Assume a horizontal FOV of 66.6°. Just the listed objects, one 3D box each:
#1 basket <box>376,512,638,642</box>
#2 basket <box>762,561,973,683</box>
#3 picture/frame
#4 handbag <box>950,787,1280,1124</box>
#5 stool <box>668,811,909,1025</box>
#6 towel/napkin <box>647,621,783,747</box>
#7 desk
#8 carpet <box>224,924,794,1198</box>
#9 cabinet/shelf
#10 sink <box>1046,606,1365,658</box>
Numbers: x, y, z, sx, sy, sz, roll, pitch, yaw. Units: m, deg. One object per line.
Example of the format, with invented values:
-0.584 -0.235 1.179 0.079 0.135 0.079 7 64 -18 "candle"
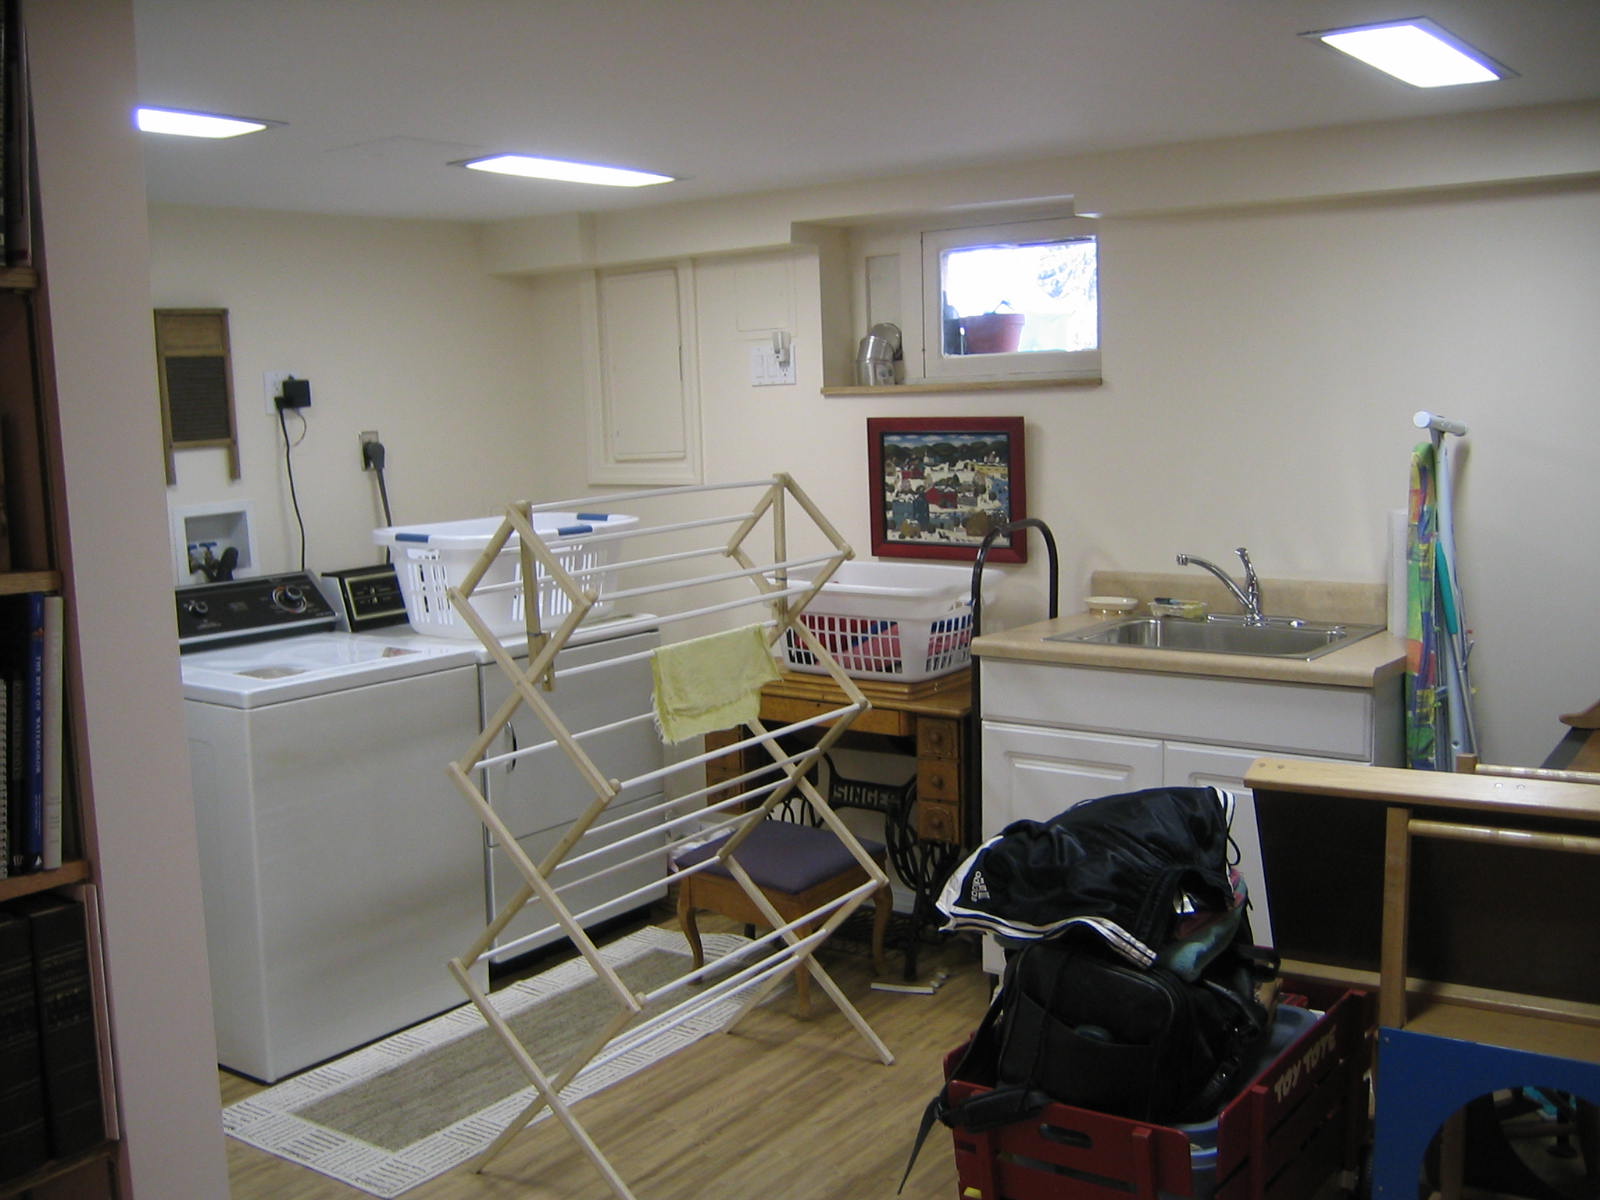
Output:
-0.915 -0.073 3.892 0.684 0.364 1.105 -8 10 -32 "basket"
0.319 0.066 4.006 0.551 0.309 0.562 3 10 34 "basket"
0.524 -0.390 4.154 0.496 0.486 0.036 2 7 29 "picture/frame"
0.670 0.682 2.593 0.548 0.566 0.588 -1 6 22 "handbag"
-0.044 0.914 3.759 0.624 0.427 0.583 -11 13 -33 "stool"
-0.201 0.207 3.035 0.359 0.241 0.082 -12 10 -40 "towel/napkin"
0.156 0.746 4.091 0.966 1.010 0.628 4 5 23 "desk"
-0.820 1.284 3.404 0.811 0.061 1.319 4 11 40 "carpet"
1.185 0.333 3.569 1.228 1.233 0.688 3 6 31 "cabinet/shelf"
1.234 0.113 3.567 0.836 0.115 0.370 1 9 21 "sink"
